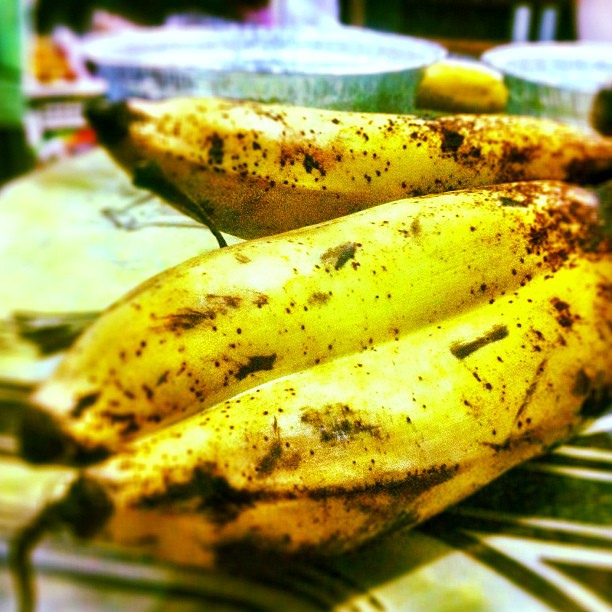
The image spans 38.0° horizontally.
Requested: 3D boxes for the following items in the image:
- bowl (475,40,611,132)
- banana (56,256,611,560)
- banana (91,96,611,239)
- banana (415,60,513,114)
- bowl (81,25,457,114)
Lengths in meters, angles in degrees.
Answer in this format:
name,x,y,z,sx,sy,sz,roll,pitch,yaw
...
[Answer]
name,x,y,z,sx,sy,sz,roll,pitch,yaw
bowl,0.199,-0.181,0.738,0.121,0.040,0.107,-18,38,-27
banana,0.101,0.054,0.620,0.495,0.133,0.111,-13,45,-18
banana,0.096,-0.095,0.672,0.490,0.118,0.113,-3,-7,-10
banana,0.147,-0.198,0.788,0.083,0.037,0.086,-9,2,-5
bowl,-0.033,-0.199,0.751,0.274,0.044,0.222,1,19,-3
